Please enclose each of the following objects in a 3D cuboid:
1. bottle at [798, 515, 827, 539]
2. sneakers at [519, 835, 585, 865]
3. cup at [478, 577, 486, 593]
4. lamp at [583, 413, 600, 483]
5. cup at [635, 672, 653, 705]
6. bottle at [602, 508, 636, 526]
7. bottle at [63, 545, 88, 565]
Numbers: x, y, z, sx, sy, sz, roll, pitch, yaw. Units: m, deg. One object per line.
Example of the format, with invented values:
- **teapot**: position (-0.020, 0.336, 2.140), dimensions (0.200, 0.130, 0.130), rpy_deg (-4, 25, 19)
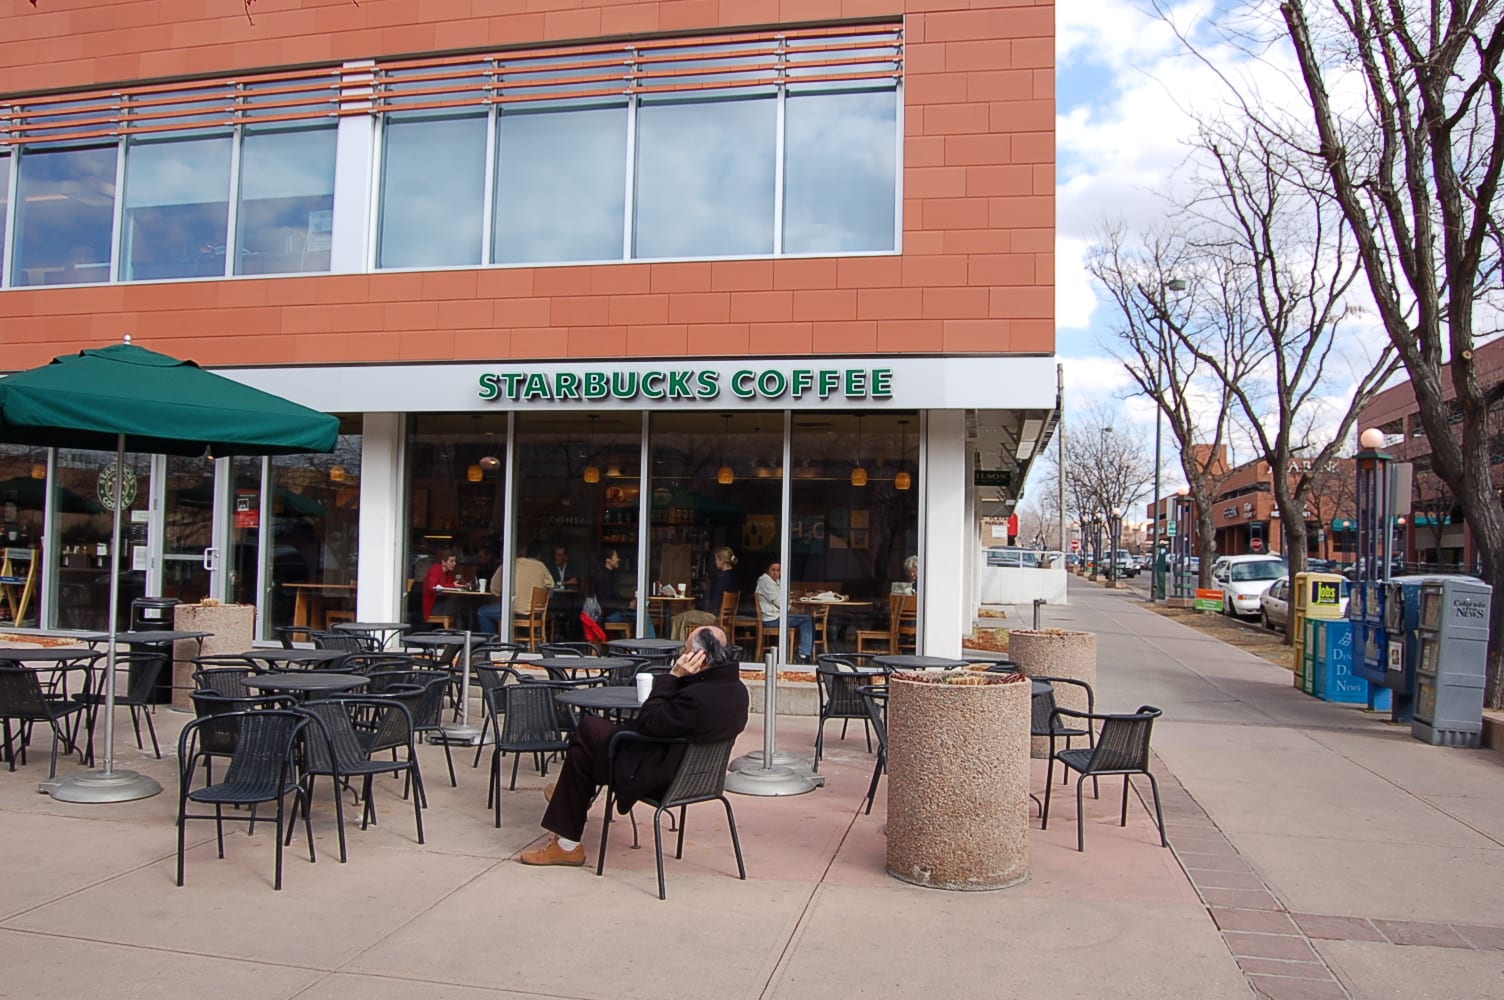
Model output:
- **bottle**: position (0.880, 0.398, 15.934), dimensions (0.537, 0.449, 0.266), rpy_deg (0, -5, 8)
- **sneakers**: position (-1.616, 2.838, 9.516), dimensions (0.616, 0.242, 0.211), rpy_deg (4, -10, 1)
- **cup**: position (-3.900, 1.193, 16.628), dimensions (0.152, 0.208, 0.150), rpy_deg (-1, -4, 0)
- **lamp**: position (-2.274, -0.715, 16.369), dimensions (0.240, 0.934, 0.163), rpy_deg (-1, -3, 3)
- **cup**: position (-0.946, 1.613, 10.135), dimensions (0.161, 0.227, 0.248), rpy_deg (1, -7, -2)
- **bottle**: position (-1.861, 0.216, 16.321), dimensions (0.456, 0.232, 0.051), rpy_deg (-2, -3, 18)
- **bottle**: position (-10.705, 0.849, 18.244), dimensions (0.336, 0.302, 0.324), rpy_deg (-1, -2, 20)
